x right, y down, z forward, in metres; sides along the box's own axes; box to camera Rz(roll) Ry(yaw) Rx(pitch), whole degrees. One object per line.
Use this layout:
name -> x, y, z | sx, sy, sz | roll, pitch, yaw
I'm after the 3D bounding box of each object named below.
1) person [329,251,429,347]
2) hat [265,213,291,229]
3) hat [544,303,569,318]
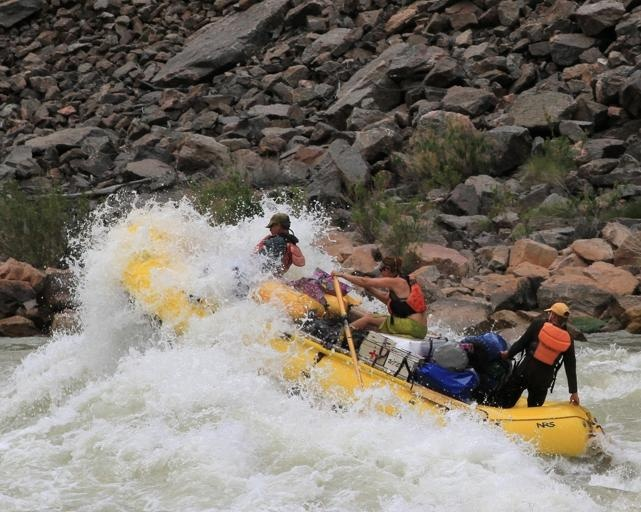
person -> 0.996, 0.729, 15.879 | 1.678, 1.387, 0.862 | 4, -1, 8
hat -> -0.683, -0.590, 16.528 | 0.318, 0.171, 0.223 | 2, 11, 28
hat -> 3.698, 0.821, 15.027 | 0.336, 0.186, 0.238 | 5, -2, 32
